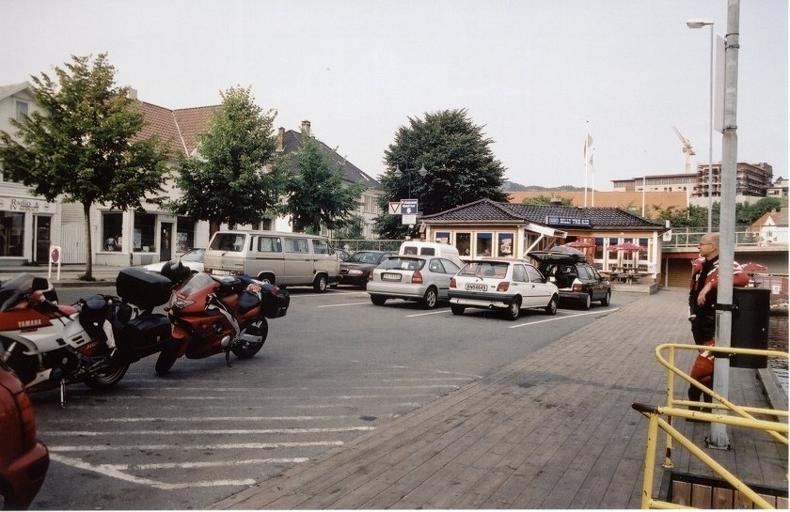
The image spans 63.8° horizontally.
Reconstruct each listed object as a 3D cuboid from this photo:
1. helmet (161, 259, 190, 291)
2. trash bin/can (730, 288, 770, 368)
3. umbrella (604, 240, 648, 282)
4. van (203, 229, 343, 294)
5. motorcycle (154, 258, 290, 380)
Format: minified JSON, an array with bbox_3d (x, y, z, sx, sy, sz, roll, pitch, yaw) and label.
[{"bbox_3d":[-3.560,0.293,10.465,0.378,0.496,0.498,6,-16,9],"label":"helmet"},{"bbox_3d":[4.676,0.953,8.366,0.434,1.052,0.649,0,1,29],"label":"trash bin/can"},{"bbox_3d":[15.769,0.369,43.269,2.782,2.648,2.796,2,6,17],"label":"umbrella"},{"bbox_3d":[-4.371,0.107,22.892,2.098,1.725,4.333,3,4,39],"label":"van"},{"bbox_3d":[-3.021,1.063,10.971,0.930,1.676,2.814,13,7,28],"label":"motorcycle"}]
